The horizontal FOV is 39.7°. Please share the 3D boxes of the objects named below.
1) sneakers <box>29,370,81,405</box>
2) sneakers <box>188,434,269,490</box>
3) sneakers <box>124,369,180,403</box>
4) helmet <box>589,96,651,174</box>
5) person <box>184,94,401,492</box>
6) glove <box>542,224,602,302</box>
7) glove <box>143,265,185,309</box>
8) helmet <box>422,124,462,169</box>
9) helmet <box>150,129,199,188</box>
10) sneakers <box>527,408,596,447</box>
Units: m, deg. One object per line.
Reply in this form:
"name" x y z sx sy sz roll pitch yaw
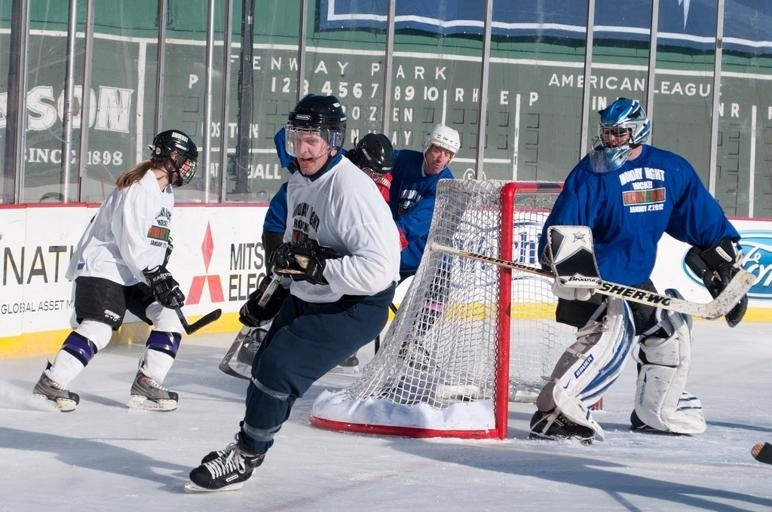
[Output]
"sneakers" -2.439 0.979 7.839 0.359 0.225 0.179 27 -7 -10
"sneakers" -0.985 1.298 6.522 0.259 0.211 0.511 44 36 23
"sneakers" -1.762 1.002 7.959 0.398 0.259 0.178 5 -3 -7
"helmet" 1.662 -0.885 7.586 0.354 0.418 0.590 1 20 43
"person" -0.505 0.231 6.556 1.122 2.379 0.439 0 11 -8
"glove" 1.264 0.060 7.317 0.392 0.532 0.272 3 11 8
"glove" -1.616 0.230 7.778 0.207 0.356 0.095 -35 6 -13
"helmet" 0.452 -0.870 8.797 0.272 0.385 0.196 2 11 1
"helmet" -1.625 -0.734 8.116 0.427 0.400 0.323 20 -11 -42
"sneakers" 1.222 1.182 7.421 0.348 0.163 0.240 4 -6 4
